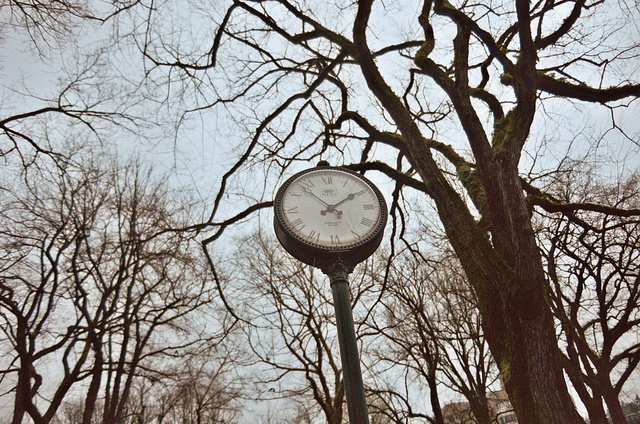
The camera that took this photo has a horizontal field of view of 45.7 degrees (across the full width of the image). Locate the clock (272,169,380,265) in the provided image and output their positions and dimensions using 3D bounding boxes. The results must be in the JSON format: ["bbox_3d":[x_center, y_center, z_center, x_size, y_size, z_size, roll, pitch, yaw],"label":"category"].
[{"bbox_3d":[0.115,0.018,14.198,1.653,1.795,0.419,9,-21,0],"label":"clock"}]
